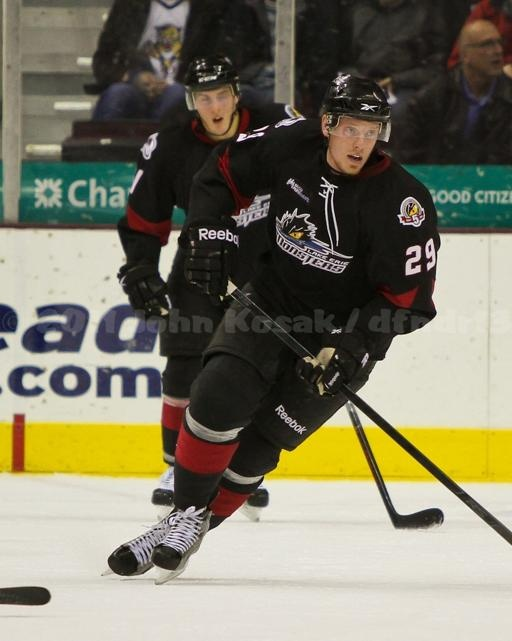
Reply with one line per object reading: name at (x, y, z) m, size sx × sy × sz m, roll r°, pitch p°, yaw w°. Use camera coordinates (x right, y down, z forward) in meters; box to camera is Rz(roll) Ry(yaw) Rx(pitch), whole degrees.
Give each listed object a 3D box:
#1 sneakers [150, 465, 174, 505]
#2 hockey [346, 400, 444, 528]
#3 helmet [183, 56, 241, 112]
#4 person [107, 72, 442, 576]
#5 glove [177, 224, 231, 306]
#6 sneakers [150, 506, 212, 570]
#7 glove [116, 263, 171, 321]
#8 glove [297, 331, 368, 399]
sneakers at (-0.308, 0.570, 2.954) m, size 0.090 × 0.087 × 0.226 m, roll 7°, pitch -2°, yaw 0°
hockey at (0.439, 0.498, 2.915) m, size 0.234 × 0.059 × 0.555 m, roll -1°, pitch 42°, yaw -23°
helmet at (-0.140, -0.755, 2.829) m, size 0.180 × 0.157 × 0.201 m, roll -7°, pitch -18°, yaw 5°
person at (0.078, 0.022, 2.218) m, size 0.759 × 1.304 × 0.392 m, roll 3°, pitch 2°, yaw 8°
glove at (-0.138, -0.151, 2.198) m, size 0.183 × 0.167 × 0.084 m, roll 2°, pitch 4°, yaw 2°
sneakers at (-0.173, 0.543, 2.178) m, size 0.081 × 0.085 × 0.236 m, roll 25°, pitch 12°, yaw 4°
glove at (-0.323, -0.081, 2.537) m, size 0.131 × 0.177 × 0.079 m, roll -26°, pitch -18°, yaw -10°
glove at (0.204, 0.103, 2.123) m, size 0.205 × 0.157 × 0.094 m, roll 1°, pitch 2°, yaw -33°
